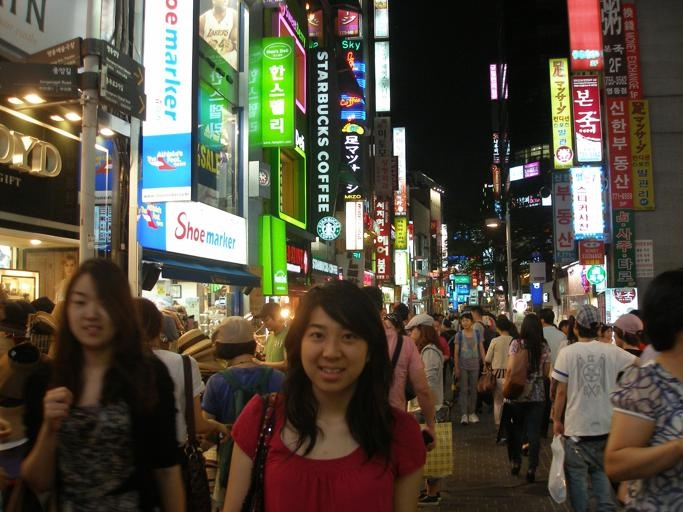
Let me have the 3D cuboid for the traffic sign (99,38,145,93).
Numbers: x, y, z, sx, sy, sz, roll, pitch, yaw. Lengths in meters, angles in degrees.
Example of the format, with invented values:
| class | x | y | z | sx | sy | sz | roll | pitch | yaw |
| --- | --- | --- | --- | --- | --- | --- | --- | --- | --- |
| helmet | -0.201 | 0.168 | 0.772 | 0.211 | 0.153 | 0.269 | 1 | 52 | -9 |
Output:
| class | x | y | z | sx | sy | sz | roll | pitch | yaw |
| --- | --- | --- | --- | --- | --- | --- | --- | --- | --- |
| traffic sign | -3.052 | -2.644 | 8.654 | 0.109 | 0.417 | 0.942 | 0 | -4 | 15 |

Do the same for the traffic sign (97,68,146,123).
| class | x | y | z | sx | sy | sz | roll | pitch | yaw |
| --- | --- | --- | --- | --- | --- | --- | --- | --- | --- |
| traffic sign | -3.092 | -2.258 | 8.633 | 0.154 | 0.537 | 0.939 | 1 | -4 | 17 |

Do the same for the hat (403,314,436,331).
| class | x | y | z | sx | sy | sz | roll | pitch | yaw |
| --- | --- | --- | --- | --- | --- | --- | --- | --- | --- |
| hat | 1.101 | 0.909 | 8.532 | 0.325 | 0.193 | 0.236 | 6 | -9 | 0 |

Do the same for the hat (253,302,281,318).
| class | x | y | z | sx | sy | sz | roll | pitch | yaw |
| --- | --- | --- | --- | --- | --- | --- | --- | --- | --- |
| hat | -1.036 | 0.787 | 8.808 | 0.287 | 0.178 | 0.210 | 0 | -6 | -13 |
